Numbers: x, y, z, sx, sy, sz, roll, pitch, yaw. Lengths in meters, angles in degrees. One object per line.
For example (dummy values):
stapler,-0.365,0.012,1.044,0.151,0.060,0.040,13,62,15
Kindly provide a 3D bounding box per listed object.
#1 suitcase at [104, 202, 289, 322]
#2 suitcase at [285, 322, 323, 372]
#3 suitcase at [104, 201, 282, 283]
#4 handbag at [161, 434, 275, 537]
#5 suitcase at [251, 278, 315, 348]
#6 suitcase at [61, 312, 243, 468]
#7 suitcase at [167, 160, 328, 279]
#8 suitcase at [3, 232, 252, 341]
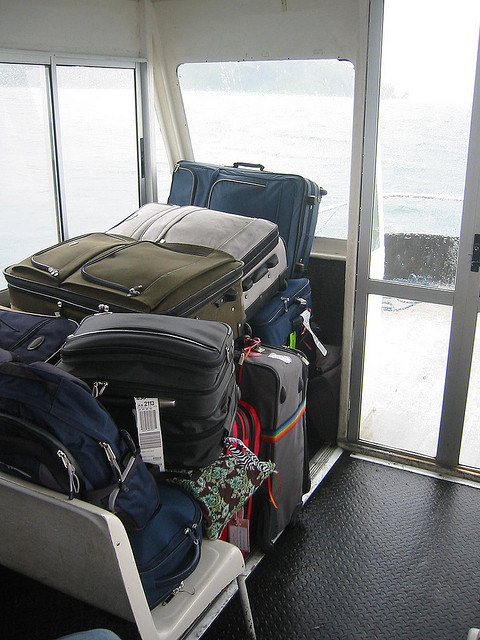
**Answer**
suitcase,-0.113,-0.380,2.099,0.757,0.417,0.578,22,44,27
suitcase,0.299,0.129,2.223,0.116,0.218,0.140,-31,47,-29
suitcase,-0.216,-0.439,2.140,0.639,0.198,0.445,17,45,26
handbag,-0.046,0.475,1.361,0.247,0.092,0.304,39,35,9
suitcase,0.216,-0.033,2.204,0.258,0.199,0.504,0,33,27
suitcase,-0.210,0.161,1.216,0.420,0.333,0.411,7,29,18
suitcase,-0.023,-0.566,2.667,0.882,0.774,0.353,18,30,30
suitcase,-0.429,-0.152,1.633,0.587,0.222,0.471,11,26,23
